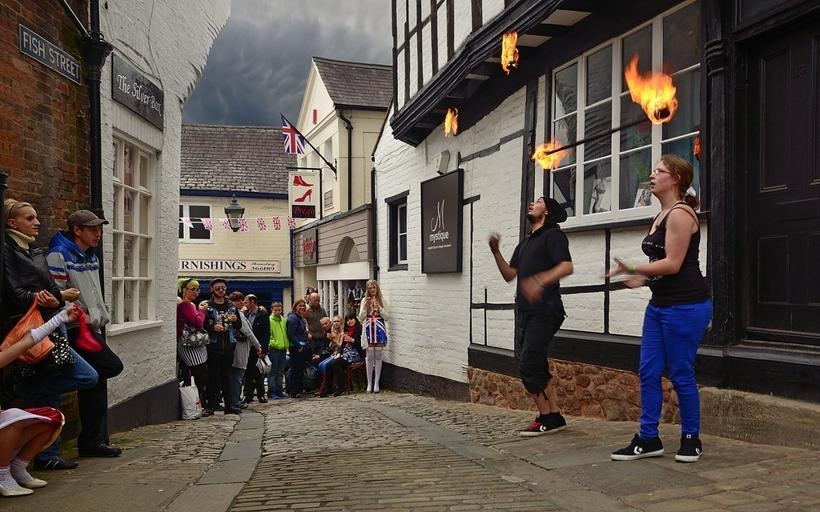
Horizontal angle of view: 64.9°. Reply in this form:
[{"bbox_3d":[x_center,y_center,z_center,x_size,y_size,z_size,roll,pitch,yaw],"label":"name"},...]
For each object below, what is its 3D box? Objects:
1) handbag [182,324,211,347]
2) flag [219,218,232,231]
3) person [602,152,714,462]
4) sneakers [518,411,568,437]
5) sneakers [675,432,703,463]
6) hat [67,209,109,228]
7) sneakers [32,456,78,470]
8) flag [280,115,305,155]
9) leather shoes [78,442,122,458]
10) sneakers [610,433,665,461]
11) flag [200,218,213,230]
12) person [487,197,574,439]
[{"bbox_3d":[-3.574,1.452,10.962,0.549,0.534,0.297,7,-17,-35],"label":"handbag"},{"bbox_3d":[-7.569,-1.296,26.413,0.067,0.481,0.687,-31,9,-19],"label":"flag"},{"bbox_3d":[2.404,0.486,6.083,0.832,2.447,0.529,-4,-2,13],"label":"person"},{"bbox_3d":[1.558,1.964,7.519,0.647,0.253,0.220,-2,-9,-19],"label":"sneakers"},{"bbox_3d":[2.626,1.800,6.052,0.290,0.220,0.209,-4,-2,6],"label":"sneakers"},{"bbox_3d":[-3.533,-0.390,7.039,0.341,0.137,0.219,-1,0,-2],"label":"hat"},{"bbox_3d":[-3.625,2.140,6.645,0.446,0.179,0.153,1,-3,-10],"label":"sneakers"},{"bbox_3d":[-3.851,-3.891,21.470,0.660,1.087,1.396,-3,-2,-11],"label":"flag"},{"bbox_3d":[-3.441,2.187,7.245,0.481,0.202,0.171,1,-1,-13],"label":"leather shoes"},{"bbox_3d":[2.206,1.879,6.301,0.566,0.244,0.209,-1,-9,-2],"label":"sneakers"},{"bbox_3d":[-8.747,-1.386,28.184,0.192,0.595,0.638,-15,-1,33],"label":"flag"},{"bbox_3d":[1.441,0.699,7.333,0.827,1.946,0.881,-4,-2,11],"label":"person"}]
